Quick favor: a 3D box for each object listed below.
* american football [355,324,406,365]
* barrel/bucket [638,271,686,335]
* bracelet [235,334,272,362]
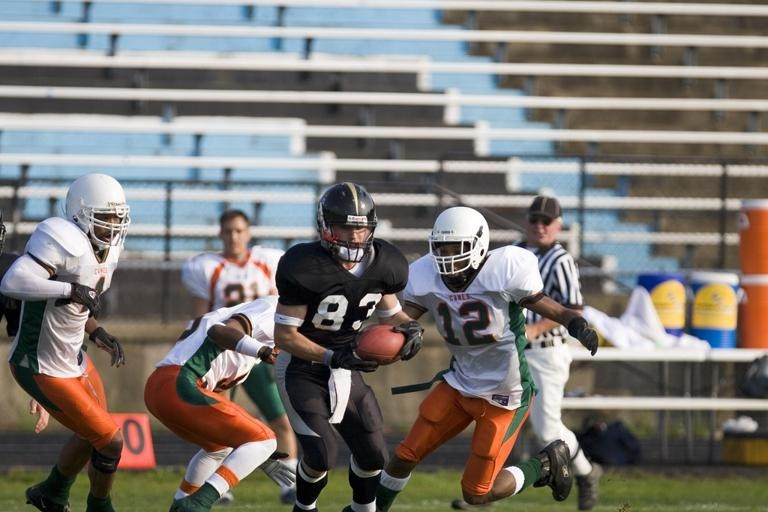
[{"bbox_3d":[-0.022,0.872,18.636,0.326,0.423,0.374,-3,-16,7],"label":"american football"},{"bbox_3d":[3.037,0.528,21.016,0.450,0.679,0.364,3,-2,-2],"label":"barrel/bucket"},{"bbox_3d":[-1.204,0.897,18.661,0.326,0.146,0.205,19,28,-3],"label":"bracelet"}]
